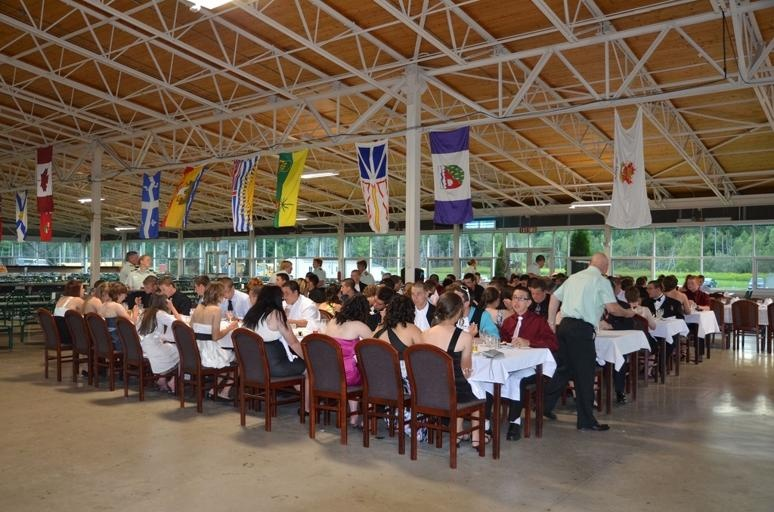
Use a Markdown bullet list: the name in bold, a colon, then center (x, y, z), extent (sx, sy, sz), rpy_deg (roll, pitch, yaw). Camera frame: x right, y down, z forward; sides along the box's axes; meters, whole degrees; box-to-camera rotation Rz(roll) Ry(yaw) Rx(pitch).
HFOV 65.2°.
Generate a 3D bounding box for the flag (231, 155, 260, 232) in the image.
- **flag**: center (-3.589, -1.556, 15.295), extent (0.653, 1.920, 1.351), rpy_deg (-2, 10, -12)

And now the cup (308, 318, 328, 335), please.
- **cup**: center (-1.066, 1.080, 9.406), extent (0.281, 0.249, 0.236), rpy_deg (1, -2, -5)

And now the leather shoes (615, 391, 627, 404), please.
- **leather shoes**: center (3.803, 2.274, 9.744), extent (0.213, 0.197, 0.126), rpy_deg (2, -9, 15)

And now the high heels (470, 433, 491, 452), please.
- **high heels**: center (1.247, 2.425, 7.938), extent (0.127, 0.140, 0.367), rpy_deg (-1, -1, 19)

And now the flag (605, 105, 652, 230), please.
- **flag**: center (4.692, -1.633, 11.509), extent (0.718, 2.284, 1.321), rpy_deg (4, 11, 19)

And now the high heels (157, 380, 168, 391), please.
- **high heels**: center (-3.820, 2.171, 10.236), extent (0.171, 0.174, 0.207), rpy_deg (2, 1, -4)

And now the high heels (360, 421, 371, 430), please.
- **high heels**: center (-0.261, 2.246, 8.072), extent (0.117, 0.133, 0.330), rpy_deg (2, -5, -8)

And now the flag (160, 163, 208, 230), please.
- **flag**: center (-5.663, -1.645, 16.718), extent (1.044, 1.705, 1.595), rpy_deg (-3, 10, -19)

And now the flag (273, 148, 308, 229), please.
- **flag**: center (-2.304, -1.599, 14.358), extent (0.796, 1.821, 1.101), rpy_deg (-2, 10, -10)

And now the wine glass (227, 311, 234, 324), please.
- **wine glass**: center (-2.590, 1.004, 10.043), extent (0.131, 0.194, 0.133), rpy_deg (2, 3, 42)

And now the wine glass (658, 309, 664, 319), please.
- **wine glass**: center (5.309, 1.095, 11.632), extent (0.163, 0.168, 0.156), rpy_deg (0, 4, -5)

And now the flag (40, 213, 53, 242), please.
- **flag**: center (-10.233, -0.883, 18.064), extent (0.273, 0.897, 0.834), rpy_deg (-7, 12, -34)

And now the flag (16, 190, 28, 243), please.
- **flag**: center (-11.663, -1.295, 19.218), extent (0.325, 1.496, 1.388), rpy_deg (-6, 11, -29)

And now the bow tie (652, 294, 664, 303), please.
- **bow tie**: center (5.532, 0.846, 12.195), extent (0.153, 0.109, 0.187), rpy_deg (-5, -18, 5)

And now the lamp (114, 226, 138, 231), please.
- **lamp**: center (-14.707, -1.555, 34.076), extent (0.904, 0.303, 1.735), rpy_deg (-3, 9, -17)

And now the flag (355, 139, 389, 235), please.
- **flag**: center (-0.259, -1.504, 13.095), extent (0.548, 1.968, 1.054), rpy_deg (-3, 10, -14)

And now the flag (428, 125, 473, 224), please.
- **flag**: center (1.322, -1.646, 12.390), extent (0.831, 1.994, 0.921), rpy_deg (1, 10, 3)
